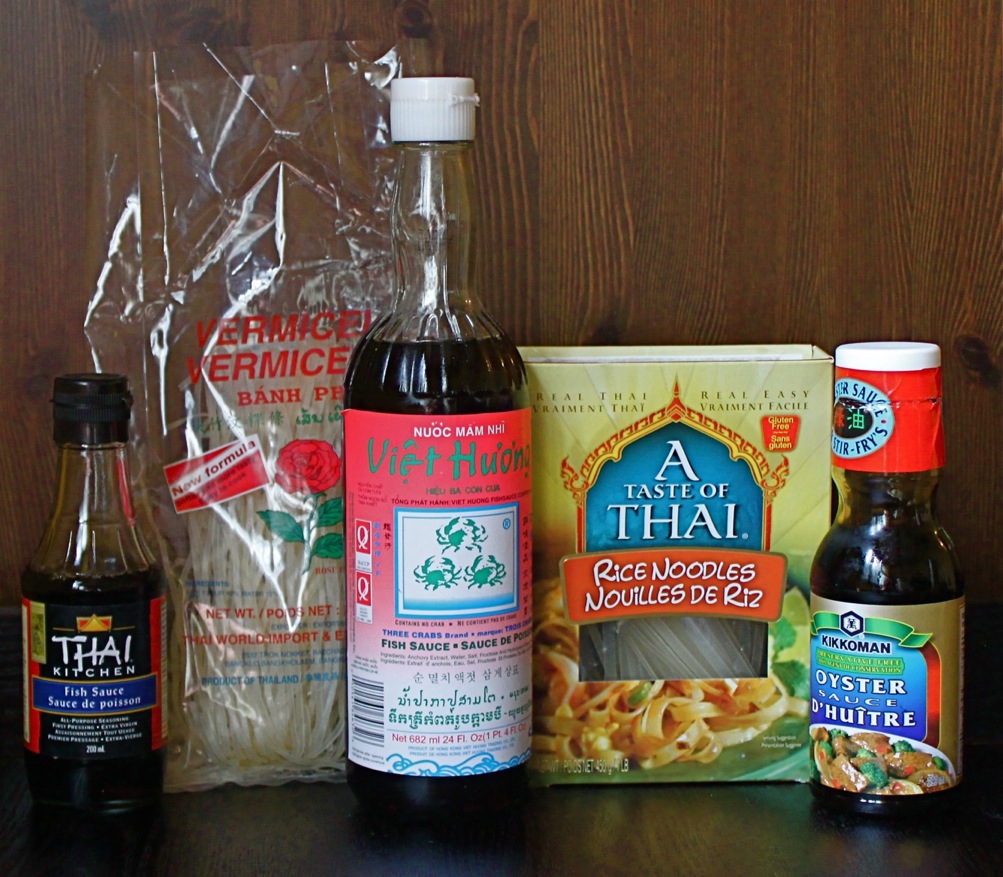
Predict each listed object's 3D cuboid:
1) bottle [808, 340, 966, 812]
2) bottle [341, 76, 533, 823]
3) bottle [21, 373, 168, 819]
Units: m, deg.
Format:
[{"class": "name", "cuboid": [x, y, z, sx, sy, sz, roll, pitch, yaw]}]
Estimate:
[{"class": "bottle", "cuboid": [0.294, 0.099, 0.770, 0.105, 0.335, 0.108, 0, 8, 0]}, {"class": "bottle", "cuboid": [-0.060, 0.003, 0.780, 0.140, 0.514, 0.190, -6, 10, -39]}, {"class": "bottle", "cuboid": [-0.300, 0.140, 0.764, 0.099, 0.260, 0.086, -3, 9, -26]}]
